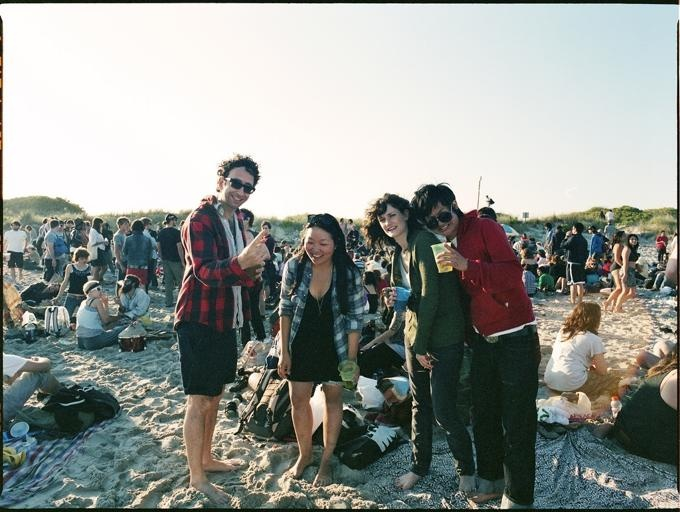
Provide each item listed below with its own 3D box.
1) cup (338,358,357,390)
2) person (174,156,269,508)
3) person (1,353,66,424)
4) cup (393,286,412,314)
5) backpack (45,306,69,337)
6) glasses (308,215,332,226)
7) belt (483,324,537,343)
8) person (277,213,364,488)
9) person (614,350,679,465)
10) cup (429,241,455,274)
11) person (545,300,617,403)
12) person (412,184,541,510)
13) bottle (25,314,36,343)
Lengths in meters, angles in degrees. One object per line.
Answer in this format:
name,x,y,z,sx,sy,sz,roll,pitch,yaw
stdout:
cup,0.072,1.064,4.160,0.179,0.243,0.202,-3,10,-12
person,-1.063,0.594,4.172,0.825,2.974,0.906,-4,11,-19
person,-3.588,1.439,5.260,0.306,0.728,0.674,3,11,17
cup,0.535,0.402,4.255,0.208,0.230,0.185,4,-24,4
backpack,-5.157,1.173,8.390,0.350,0.501,0.302,1,10,9
glasses,-0.176,-0.338,4.242,0.265,0.112,0.224,0,10,4
belt,1.404,0.632,3.846,0.231,0.071,0.224,-14,-5,14
person,-0.168,0.849,4.268,0.829,2.435,0.556,-1,10,-4
person,3.134,1.498,4.600,0.658,0.958,0.323,17,-12,47
cup,0.819,0.012,3.803,0.220,0.266,0.218,-3,-8,0
person,3.187,1.285,6.107,0.677,0.898,0.763,-13,29,-33
person,1.185,0.784,3.942,1.015,2.751,0.576,5,12,26
bottle,-5.527,1.274,8.197,0.199,0.394,0.499,-7,12,-30
